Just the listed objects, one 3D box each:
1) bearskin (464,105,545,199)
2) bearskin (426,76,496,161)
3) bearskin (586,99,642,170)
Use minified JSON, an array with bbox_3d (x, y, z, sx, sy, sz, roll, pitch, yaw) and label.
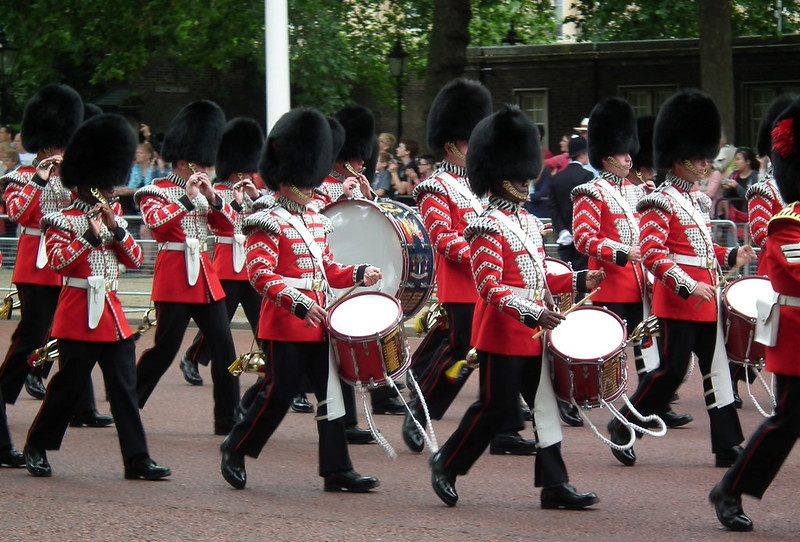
[{"bbox_3d":[0.710,-0.789,7.748,0.604,0.492,0.704,-6,12,-7],"label":"bearskin"},{"bbox_3d":[0.392,-1.158,9.272,0.574,0.551,0.476,1,13,-33],"label":"bearskin"},{"bbox_3d":[1.736,-1.125,9.722,0.482,0.556,0.500,2,8,42],"label":"bearskin"}]
